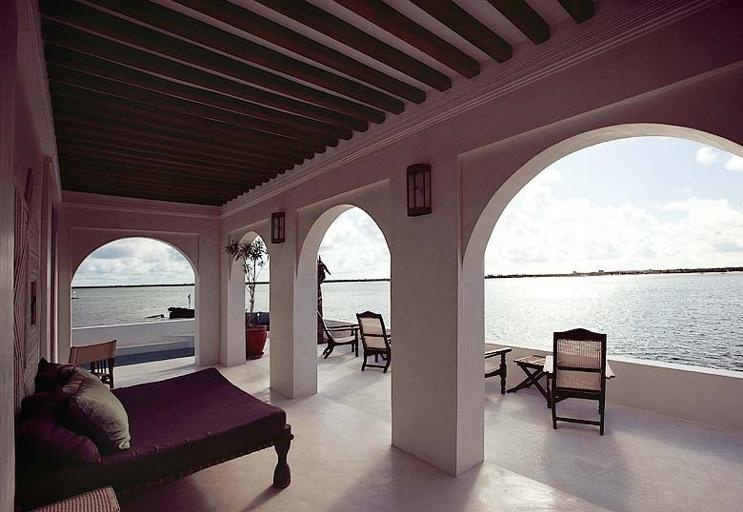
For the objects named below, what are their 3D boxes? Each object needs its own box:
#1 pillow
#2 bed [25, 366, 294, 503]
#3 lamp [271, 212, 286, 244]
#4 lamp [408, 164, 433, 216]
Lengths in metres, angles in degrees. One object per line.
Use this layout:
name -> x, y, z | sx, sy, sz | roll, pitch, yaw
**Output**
pillow -> -2.730, 1.454, 4.326 | 0.785, 0.625, 1.004 | -5, 5, -30
bed -> -2.144, 1.753, 4.292 | 1.471, 0.667, 1.459 | 2, -3, -38
lamp -> -1.502, -0.457, 7.371 | 0.148, 0.500, 0.423 | -6, 6, -42
lamp -> 0.531, -0.735, 5.123 | 0.290, 0.592, 0.168 | -1, 5, 11
